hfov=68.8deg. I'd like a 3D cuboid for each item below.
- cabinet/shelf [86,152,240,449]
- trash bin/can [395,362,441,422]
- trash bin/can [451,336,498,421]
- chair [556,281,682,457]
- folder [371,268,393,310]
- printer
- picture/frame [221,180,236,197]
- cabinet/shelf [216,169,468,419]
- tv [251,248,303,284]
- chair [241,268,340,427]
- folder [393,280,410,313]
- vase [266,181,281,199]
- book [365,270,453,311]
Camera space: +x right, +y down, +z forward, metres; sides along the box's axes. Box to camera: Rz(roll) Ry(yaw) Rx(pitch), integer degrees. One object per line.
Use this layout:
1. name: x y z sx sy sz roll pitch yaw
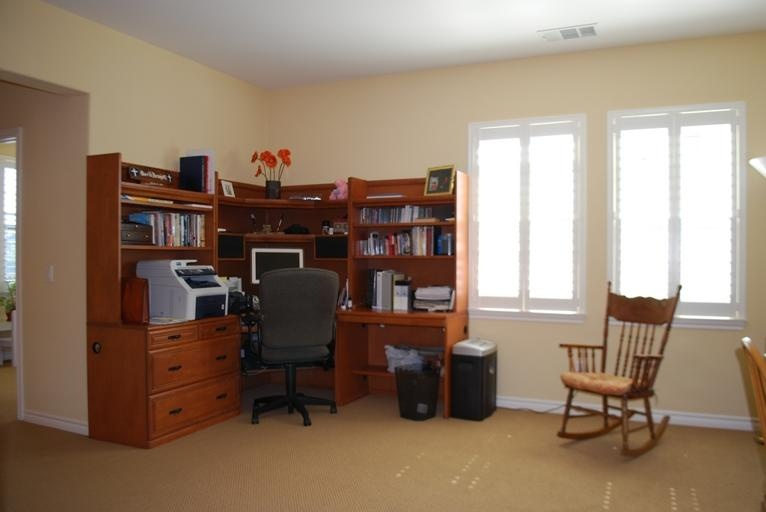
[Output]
1. cabinet/shelf: -2.143 0.363 5.321 1.350 2.646 1.042 -5 11 -29
2. trash bin/can: 0.343 1.400 5.789 0.478 0.427 0.488 -2 -1 -7
3. trash bin/can: 0.932 1.285 5.735 0.482 0.759 0.331 -1 10 -9
4. chair: 2.282 1.089 5.348 1.113 1.497 0.922 0 0 -18
5. folder: 0.015 0.372 6.387 0.340 0.484 0.487 0 0 9
6. printer: -1.889 0.304 5.395 0.734 0.542 0.540 0 -1 22
7. picture/frame: -1.721 -0.748 6.190 0.027 0.215 0.214 -14 1 22
8. cabinet/shelf: -0.550 0.385 6.306 2.719 2.562 0.903 0 3 18
9. tv: -1.157 0.107 5.991 0.396 0.281 0.039 0 -4 -13
10. chair: -0.877 0.886 5.536 0.868 1.572 0.452 -2 10 -13
11. folder: 0.210 0.436 6.093 0.197 0.308 0.210 0 10 3
12. vase: -1.280 -0.769 6.525 0.192 0.249 0.201 0 3 -12
13. book: 0.293 0.381 6.164 1.010 0.420 0.419 2 10 10
